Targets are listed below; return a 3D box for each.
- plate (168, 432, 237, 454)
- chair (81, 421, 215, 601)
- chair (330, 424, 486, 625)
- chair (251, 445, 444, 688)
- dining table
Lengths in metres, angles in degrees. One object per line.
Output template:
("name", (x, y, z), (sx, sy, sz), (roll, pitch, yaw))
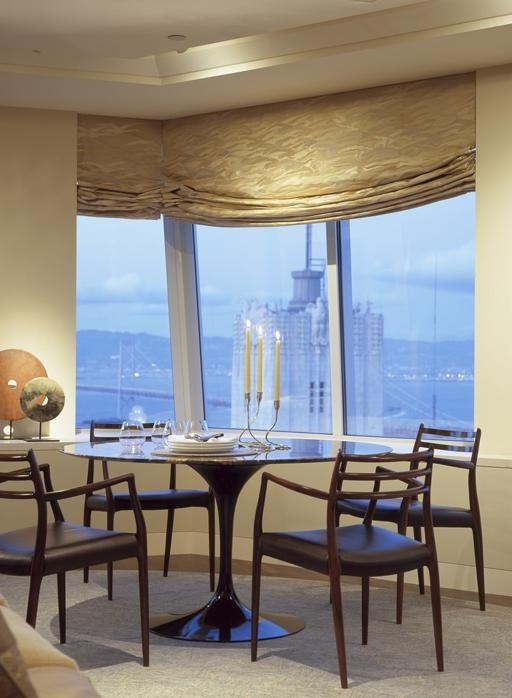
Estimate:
("plate", (-0.222, 0.381, 2.746), (0.294, 0.067, 0.371), (1, -5, -7))
("chair", (-0.574, 0.854, 3.605), (0.705, 0.780, 0.685), (-7, -16, 18))
("chair", (0.754, 0.834, 3.378), (0.731, 0.811, 0.711), (1, -5, 2))
("chair", (0.351, 0.768, 2.536), (0.712, 0.718, 0.686), (-4, -11, 28))
("dining table", (-0.115, 0.867, 3.025), (1.231, 0.692, 1.282), (-9, -18, 32))
